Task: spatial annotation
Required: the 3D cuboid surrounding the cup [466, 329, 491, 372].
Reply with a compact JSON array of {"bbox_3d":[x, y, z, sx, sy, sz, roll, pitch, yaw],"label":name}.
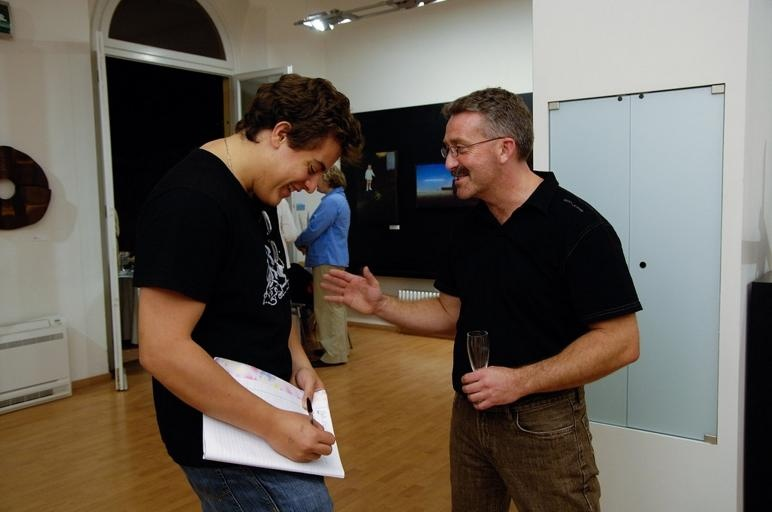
[{"bbox_3d":[0.425,0.437,2.568,0.092,0.176,0.061,-1,9,-1],"label":"cup"}]
